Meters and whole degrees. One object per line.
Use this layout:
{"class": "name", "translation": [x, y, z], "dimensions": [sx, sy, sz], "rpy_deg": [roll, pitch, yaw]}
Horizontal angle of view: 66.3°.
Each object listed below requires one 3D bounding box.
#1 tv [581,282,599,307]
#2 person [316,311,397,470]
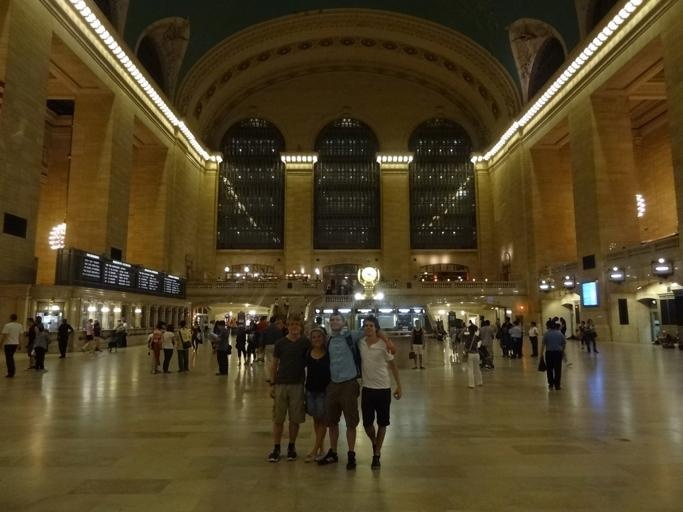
{"class": "tv", "translation": [12.691, 1.954, 26.627], "dimensions": [0.383, 1.229, 1.205], "rpy_deg": [2, -5, -7]}
{"class": "person", "translation": [0.143, 1.696, 6.697], "dimensions": [0.863, 1.920, 0.391], "rpy_deg": [2, -12, -8]}
